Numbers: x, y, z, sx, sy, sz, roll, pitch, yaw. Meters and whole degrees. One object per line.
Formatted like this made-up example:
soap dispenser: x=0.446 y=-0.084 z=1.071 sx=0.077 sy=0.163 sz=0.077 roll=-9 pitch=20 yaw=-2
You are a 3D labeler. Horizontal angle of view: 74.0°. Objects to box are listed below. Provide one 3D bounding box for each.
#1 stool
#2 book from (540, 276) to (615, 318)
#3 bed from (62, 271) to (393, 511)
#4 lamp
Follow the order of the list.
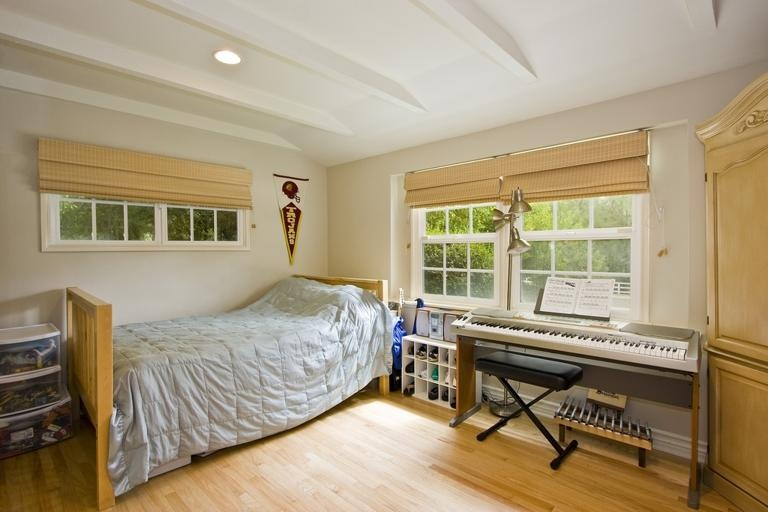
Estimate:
stool: x=1.229 y=1.258 z=4.326 sx=0.789 sy=0.732 sz=0.518 roll=3 pitch=4 yaw=40
book: x=1.634 y=0.354 z=4.341 sx=0.537 sy=0.345 sz=0.357 roll=2 pitch=5 yaw=37
bed: x=-1.370 y=0.882 z=4.562 sx=2.219 sy=0.982 sz=1.801 roll=-6 pitch=10 yaw=-36
lamp: x=1.164 y=-0.124 z=4.662 sx=0.317 sy=1.253 sz=0.752 roll=0 pitch=1 yaw=14
